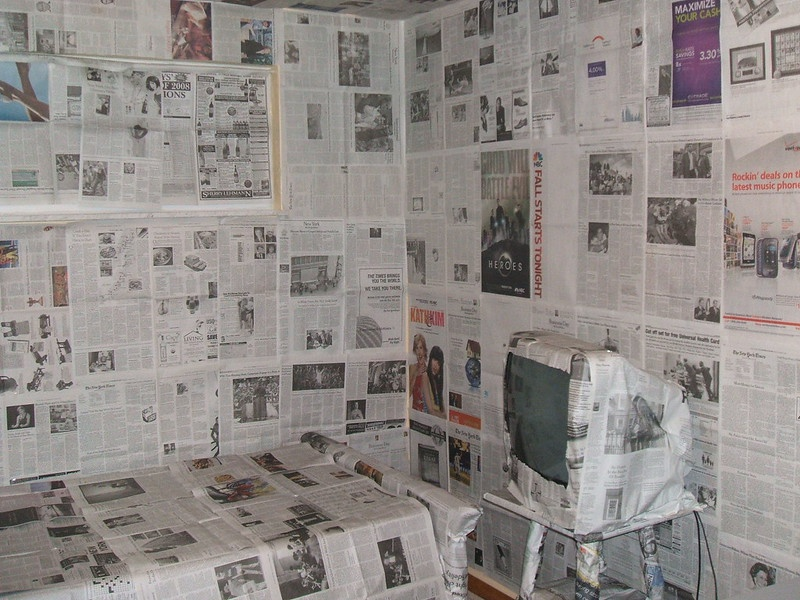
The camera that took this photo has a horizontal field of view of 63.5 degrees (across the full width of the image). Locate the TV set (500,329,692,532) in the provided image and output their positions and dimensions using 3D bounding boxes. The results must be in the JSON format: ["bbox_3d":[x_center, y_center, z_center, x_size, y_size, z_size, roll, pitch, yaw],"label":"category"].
[{"bbox_3d":[0.619,0.398,2.108,0.591,0.562,0.632,5,7,39],"label":"TV set"}]
